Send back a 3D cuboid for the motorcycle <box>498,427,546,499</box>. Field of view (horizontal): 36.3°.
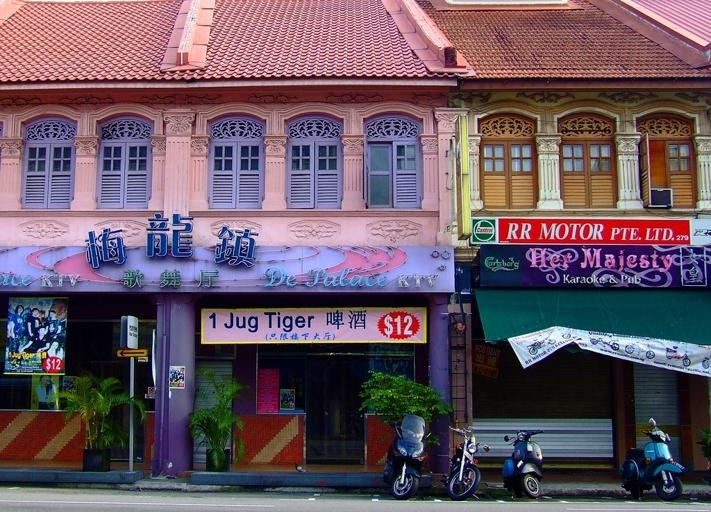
[{"bbox_3d":[4.113,5.153,26.725,0.924,1.659,0.856,-1,-3,13],"label":"motorcycle"}]

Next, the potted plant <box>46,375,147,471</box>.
[{"bbox_3d":[-6.904,4.394,29.380,2.282,2.391,3.448,0,-2,-15],"label":"potted plant"}]

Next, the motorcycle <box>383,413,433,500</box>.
[{"bbox_3d":[1.226,4.909,26.517,0.995,1.942,1.177,-1,-2,-3],"label":"motorcycle"}]

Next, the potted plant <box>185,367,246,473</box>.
[{"bbox_3d":[-3.788,4.373,29.446,1.376,2.690,3.140,-1,-2,-6],"label":"potted plant"}]
